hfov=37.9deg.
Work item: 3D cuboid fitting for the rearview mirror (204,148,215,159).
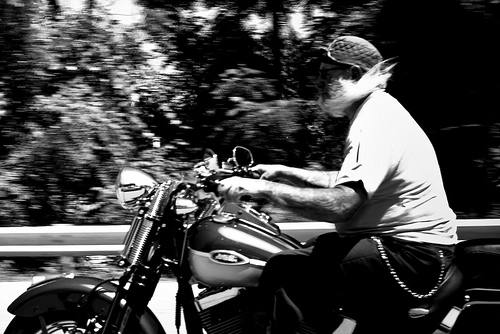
[{"bbox_3d":[-0.306,-0.100,5.286,0.081,0.040,0.069,-3,37,11],"label":"rearview mirror"}]

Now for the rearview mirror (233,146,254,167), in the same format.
[{"bbox_3d":[-0.068,-0.074,5.368,0.145,0.156,0.132,-12,39,-32],"label":"rearview mirror"}]

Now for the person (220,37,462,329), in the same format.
[{"bbox_3d":[0.742,0.226,5.136,1.534,1.847,1.367,7,34,-10],"label":"person"}]
